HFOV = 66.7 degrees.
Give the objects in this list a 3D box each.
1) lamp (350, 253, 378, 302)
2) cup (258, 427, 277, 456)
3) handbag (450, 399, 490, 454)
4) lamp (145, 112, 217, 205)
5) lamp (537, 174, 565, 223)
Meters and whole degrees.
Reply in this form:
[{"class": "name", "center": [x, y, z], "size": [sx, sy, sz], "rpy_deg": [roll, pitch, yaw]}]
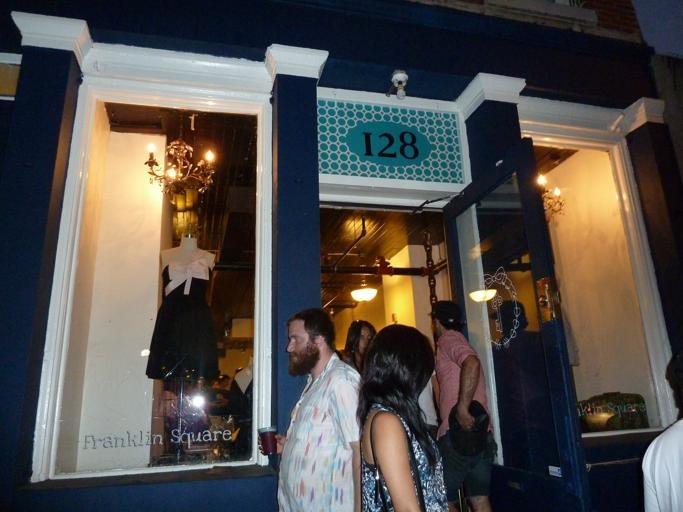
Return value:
[{"class": "lamp", "center": [0.277, 0.397, 8.842], "size": [0.628, 0.978, 0.655], "rpy_deg": [1, -11, -4]}, {"class": "cup", "center": [-0.429, 1.067, 2.979], "size": [0.135, 0.159, 0.135], "rpy_deg": [-3, -20, -1]}, {"class": "handbag", "center": [0.822, 1.087, 3.377], "size": [0.233, 0.338, 0.126], "rpy_deg": [-9, -5, -41]}, {"class": "lamp", "center": [-1.272, -0.744, 4.188], "size": [0.606, 0.457, 0.377], "rpy_deg": [-11, -17, 30]}, {"class": "lamp", "center": [2.482, -0.739, 6.108], "size": [0.229, 0.538, 0.578], "rpy_deg": [-9, -16, 24]}]
